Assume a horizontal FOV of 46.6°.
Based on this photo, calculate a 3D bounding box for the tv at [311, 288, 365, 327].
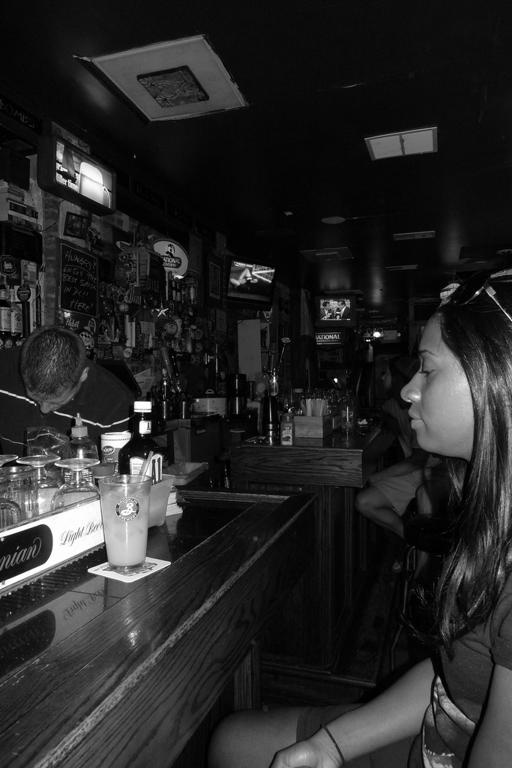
[{"bbox_3d":[1.620,-1.212,11.537,0.976,0.805,0.566,-1,-2,6],"label":"tv"}]

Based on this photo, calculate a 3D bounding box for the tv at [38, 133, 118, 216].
[{"bbox_3d":[-1.231,-1.414,4.115,0.179,0.431,0.736,12,2,15],"label":"tv"}]
